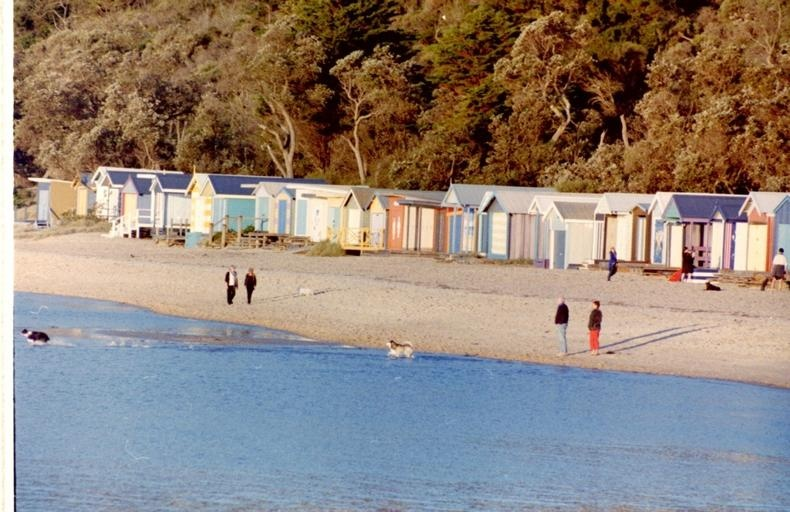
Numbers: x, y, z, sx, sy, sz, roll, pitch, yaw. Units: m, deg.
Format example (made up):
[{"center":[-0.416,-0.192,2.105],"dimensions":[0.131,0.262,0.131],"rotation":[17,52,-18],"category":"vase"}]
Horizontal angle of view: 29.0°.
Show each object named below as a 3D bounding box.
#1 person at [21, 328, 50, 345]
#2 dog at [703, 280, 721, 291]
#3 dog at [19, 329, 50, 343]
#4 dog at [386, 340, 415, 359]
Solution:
[{"center":[-18.471,4.219,78.762],"dimensions":[1.514,0.631,0.697],"rotation":[6,9,34],"category":"person"},{"center":[18.562,1.821,89.522],"dimensions":[0.437,0.602,1.336],"rotation":[-3,-5,40],"category":"dog"},{"center":[-18.432,4.186,78.727],"dimensions":[1.453,0.615,0.661],"rotation":[3,5,30],"category":"dog"},{"center":[0.350,4.740,78.491],"dimensions":[1.351,0.834,1.399],"rotation":[0,10,0],"category":"dog"}]
